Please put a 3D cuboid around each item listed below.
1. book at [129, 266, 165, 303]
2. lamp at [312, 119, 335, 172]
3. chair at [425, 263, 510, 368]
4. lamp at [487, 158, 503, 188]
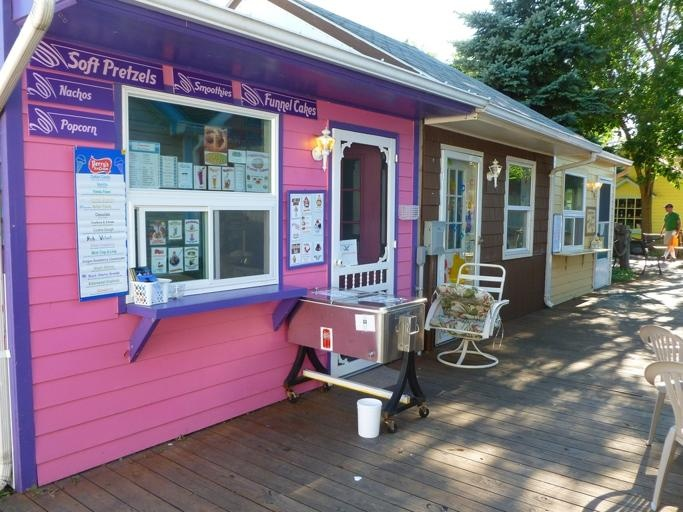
[{"bbox_3d":[-1.385,0.193,4.070,0.264,0.305,0.260,2,6,24],"label":"book"},{"bbox_3d":[-0.138,-1.047,5.282,0.136,0.471,0.341,6,11,33],"label":"lamp"},{"bbox_3d":[1.460,0.654,6.226,0.822,1.073,0.779,2,3,31],"label":"chair"},{"bbox_3d":[2.182,-1.168,7.686,0.116,0.392,0.489,6,10,29],"label":"lamp"}]
